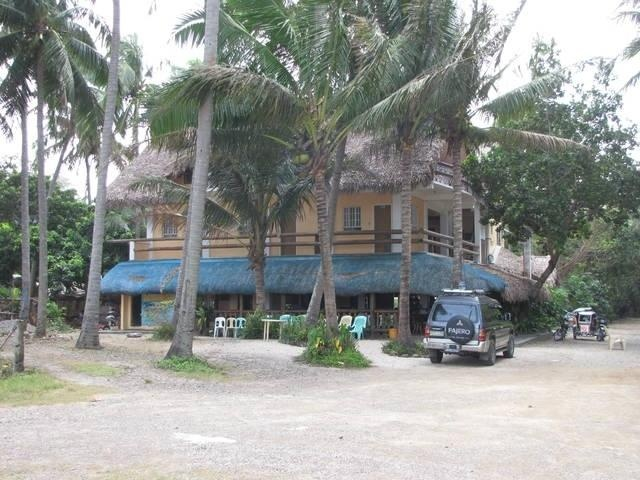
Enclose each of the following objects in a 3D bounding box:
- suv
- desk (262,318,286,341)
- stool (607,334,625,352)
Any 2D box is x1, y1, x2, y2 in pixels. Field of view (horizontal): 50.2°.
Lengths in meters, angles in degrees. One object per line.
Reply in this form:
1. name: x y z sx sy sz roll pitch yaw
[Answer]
1. suv: 5.169 2.813 23.196 1.741 1.937 3.375 -1 -2 26
2. desk: -2.032 3.778 29.442 0.838 0.964 0.921 1 -11 -3
3. stool: 12.799 4.459 29.562 0.655 0.749 0.722 0 -8 -6
